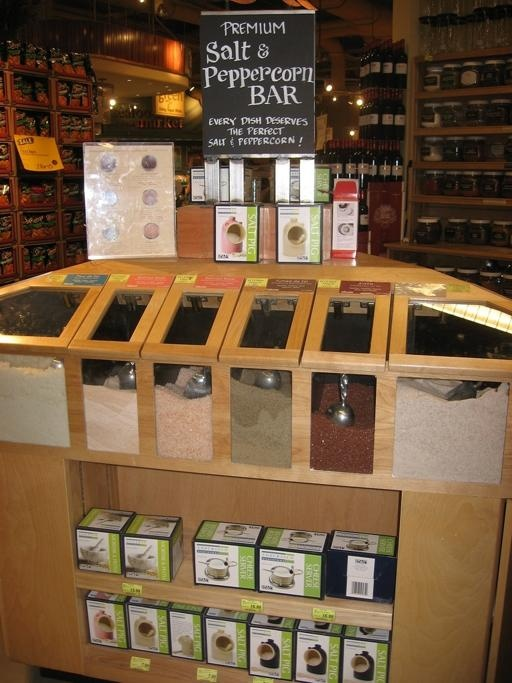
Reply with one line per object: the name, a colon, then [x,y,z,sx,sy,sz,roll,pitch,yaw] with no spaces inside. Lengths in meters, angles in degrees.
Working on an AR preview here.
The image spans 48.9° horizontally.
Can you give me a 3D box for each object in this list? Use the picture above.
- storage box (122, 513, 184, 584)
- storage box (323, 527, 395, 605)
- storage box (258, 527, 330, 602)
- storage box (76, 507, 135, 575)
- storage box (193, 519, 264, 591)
storage box: [-0.348,0.694,1.905,0.202,0.147,0.194,1,5,-7]
storage box: [0.322,0.678,1.734,0.203,0.156,0.182,4,14,14]
storage box: [0.115,0.688,1.754,0.229,0.156,0.142,0,12,9]
storage box: [-0.513,0.668,1.926,0.163,0.161,0.143,7,14,11]
storage box: [-0.090,0.681,1.831,0.211,0.152,0.196,2,13,6]
